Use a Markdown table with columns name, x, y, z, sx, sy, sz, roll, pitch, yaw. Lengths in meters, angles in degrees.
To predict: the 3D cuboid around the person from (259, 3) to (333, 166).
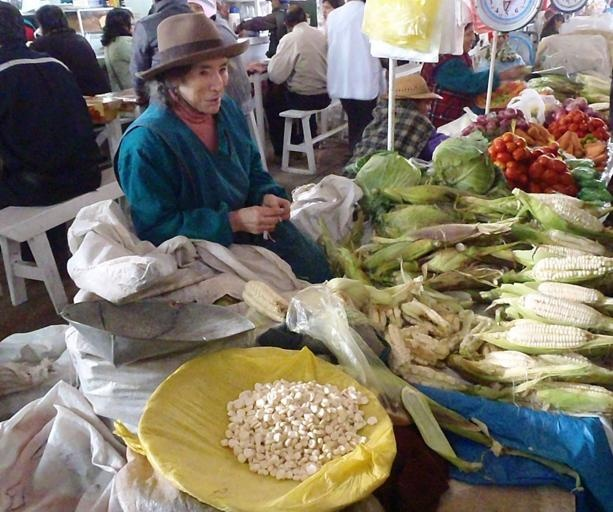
| name | x | y | z | sx | sy | sz | roll | pitch | yaw |
| --- | --- | --- | --- | --- | --- | --- | --- | --- | --- |
| person | -0.089 | -2.117 | 6.353 | 0.748 | 1.841 | 0.722 | 13 | 29 | 22 |

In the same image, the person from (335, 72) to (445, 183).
| name | x | y | z | sx | sy | sz | roll | pitch | yaw |
| --- | --- | --- | --- | --- | --- | --- | --- | --- | --- |
| person | 0.664 | -0.973 | 3.760 | 0.722 | 0.939 | 0.747 | 16 | 29 | 30 |

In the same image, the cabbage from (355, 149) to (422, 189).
| name | x | y | z | sx | sy | sz | roll | pitch | yaw |
| --- | --- | --- | --- | --- | --- | --- | --- | --- | --- |
| cabbage | 0.439 | -0.448 | 2.750 | 0.216 | 0.201 | 0.336 | -14 | 23 | -29 |

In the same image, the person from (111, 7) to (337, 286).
| name | x | y | z | sx | sy | sz | roll | pitch | yaw |
| --- | --- | --- | --- | --- | --- | --- | --- | --- | --- |
| person | -0.524 | -0.481 | 2.618 | 1.072 | 1.349 | 0.860 | -13 | 29 | -31 |

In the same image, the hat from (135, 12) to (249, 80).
| name | x | y | z | sx | sy | sz | roll | pitch | yaw |
| --- | --- | --- | --- | --- | --- | --- | --- | --- | --- |
| hat | -0.499 | -0.913 | 2.218 | 0.471 | 0.274 | 0.262 | -5 | 21 | -8 |

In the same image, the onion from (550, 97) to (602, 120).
| name | x | y | z | sx | sy | sz | roll | pitch | yaw |
| --- | --- | --- | --- | --- | --- | --- | --- | --- | --- |
| onion | 1.988 | -1.089 | 3.764 | 0.296 | 0.116 | 0.214 | -1 | -2 | 10 |
